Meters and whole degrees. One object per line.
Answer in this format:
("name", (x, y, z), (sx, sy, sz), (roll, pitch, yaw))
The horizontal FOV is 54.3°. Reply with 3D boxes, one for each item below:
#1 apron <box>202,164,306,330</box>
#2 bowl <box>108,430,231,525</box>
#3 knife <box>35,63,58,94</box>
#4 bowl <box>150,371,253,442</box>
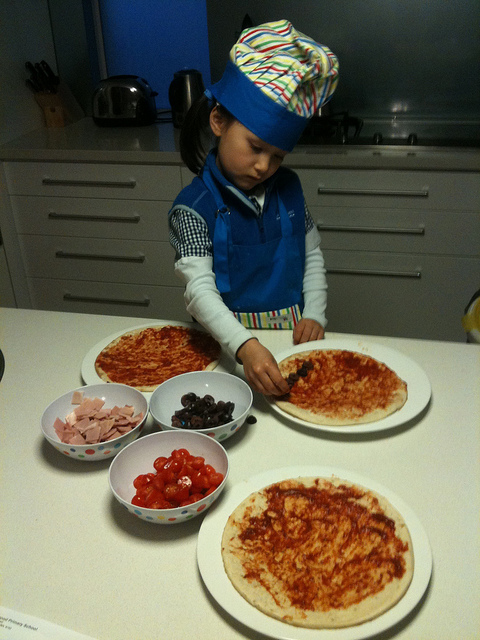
("apron", (0.026, -0.180, 1.178), (0.256, 0.443, 0.221), (-15, 29, -23))
("bowl", (-0.095, 0.179, 0.639), (0.122, 0.052, 0.129), (2, 26, -1))
("knife", (-1.095, -1.355, 2.655), (0.048, 0.198, 0.046), (26, 61, 31))
("bowl", (-0.068, 0.169, 0.817), (0.180, 0.084, 0.192), (-2, 22, 1))
